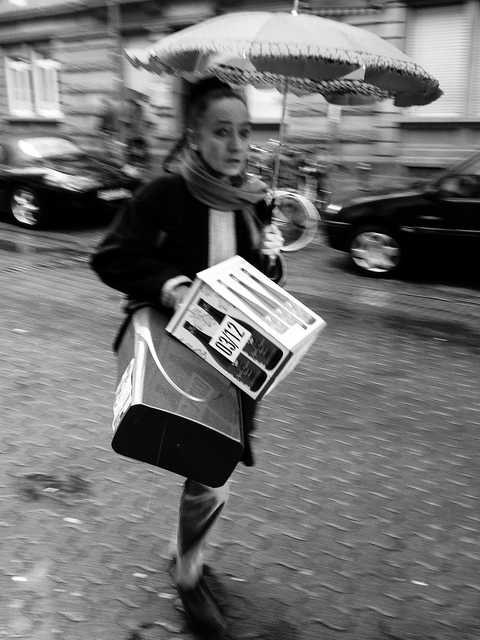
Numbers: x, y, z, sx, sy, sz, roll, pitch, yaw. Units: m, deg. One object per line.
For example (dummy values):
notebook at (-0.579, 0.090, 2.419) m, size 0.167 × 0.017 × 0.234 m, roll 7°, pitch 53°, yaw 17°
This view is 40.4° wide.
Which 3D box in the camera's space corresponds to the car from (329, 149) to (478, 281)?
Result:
car at (1.782, -1.200, 7.876) m, size 1.985 × 0.947 × 1.092 m, roll 11°, pitch 26°, yaw 14°

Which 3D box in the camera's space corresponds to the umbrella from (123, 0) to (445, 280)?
umbrella at (0.188, -0.782, 2.615) m, size 1.112 × 1.034 × 1.522 m, roll 8°, pitch 19°, yaw 18°

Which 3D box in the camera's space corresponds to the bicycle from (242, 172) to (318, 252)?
bicycle at (0.724, -1.446, 9.245) m, size 0.425 × 0.967 × 1.335 m, roll -18°, pitch 23°, yaw -18°

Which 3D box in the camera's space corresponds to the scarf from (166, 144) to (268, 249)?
scarf at (-0.072, -0.432, 1.993) m, size 0.306 × 0.198 × 0.270 m, roll 0°, pitch 18°, yaw -4°
